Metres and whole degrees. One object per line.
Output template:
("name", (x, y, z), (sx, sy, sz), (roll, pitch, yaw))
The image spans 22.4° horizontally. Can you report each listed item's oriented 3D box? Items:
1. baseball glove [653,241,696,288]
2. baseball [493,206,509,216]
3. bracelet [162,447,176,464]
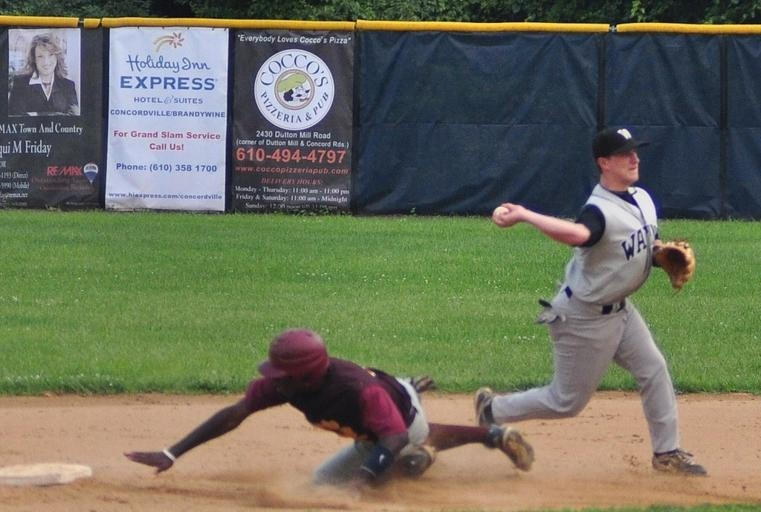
("baseball glove", (4.424, 0.132, 28.760), (0.535, 0.726, 0.298), (11, 15, 31))
("baseball", (1.724, -0.678, 28.328), (0.184, 0.143, 0.258), (-1, 8, -20))
("bracelet", (-3.118, 2.950, 28.359), (0.046, 0.187, 0.190), (-32, 17, -18))
